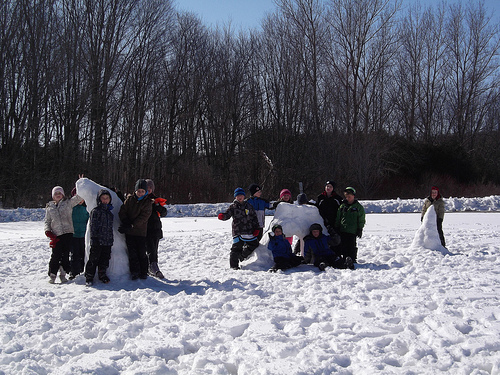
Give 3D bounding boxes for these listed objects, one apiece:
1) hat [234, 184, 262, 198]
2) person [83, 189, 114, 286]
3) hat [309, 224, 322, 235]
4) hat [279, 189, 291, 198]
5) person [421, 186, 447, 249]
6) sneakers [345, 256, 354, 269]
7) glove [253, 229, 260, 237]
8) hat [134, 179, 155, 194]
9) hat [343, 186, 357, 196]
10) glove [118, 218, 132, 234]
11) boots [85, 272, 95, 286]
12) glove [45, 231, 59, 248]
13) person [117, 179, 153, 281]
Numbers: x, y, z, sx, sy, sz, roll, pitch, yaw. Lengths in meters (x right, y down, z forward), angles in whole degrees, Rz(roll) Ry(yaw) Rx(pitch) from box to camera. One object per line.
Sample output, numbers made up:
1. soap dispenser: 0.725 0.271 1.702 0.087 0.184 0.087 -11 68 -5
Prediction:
1. hat: -0.027 0.097 14.264 0.515 0.323 0.356 -7 1 -5
2. person: -3.362 1.118 12.243 0.670 1.956 0.675 -4 12 -17
3. hat: 1.705 1.058 13.902 0.313 0.255 0.203 1 12 4
4. hat: 0.977 0.123 14.717 0.230 0.297 0.318 6 -19 -10
5. person: 5.419 0.936 16.075 0.632 2.061 0.647 10 36 32
6. sneakers: 2.468 1.870 13.488 0.150 0.322 0.071 -17 -9 4
7. glove: 0.195 1.147 13.815 0.163 0.184 0.045 -4 -17 38
8. hat: -2.475 0.014 12.841 0.306 0.401 0.470 2 7 -2
9. hat: 3.625 0.118 19.745 0.481 0.276 0.365 32 -5 -9
10. glove: -2.803 0.869 12.354 0.284 0.298 0.119 -43 -37 24
11. boots: -3.523 1.995 12.120 0.212 0.289 0.252 -4 13 -18
12. glove: -4.624 1.208 12.704 0.129 0.398 0.267 -32 -27 33
13. person: -2.585 0.962 12.515 0.777 2.119 0.716 -4 12 -16
